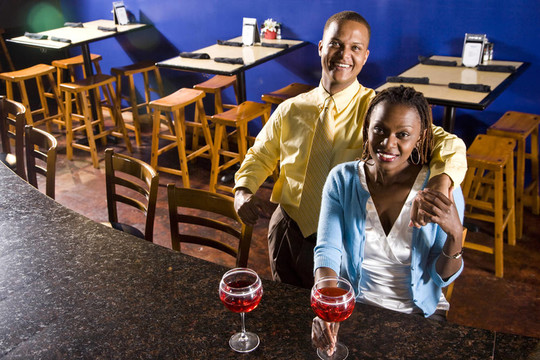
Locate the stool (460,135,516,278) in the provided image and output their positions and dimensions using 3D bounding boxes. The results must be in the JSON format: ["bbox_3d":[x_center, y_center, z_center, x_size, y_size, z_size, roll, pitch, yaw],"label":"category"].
[{"bbox_3d":[1.605,0.213,3.363,0.453,0.927,0.521,14,49,23],"label":"stool"}]

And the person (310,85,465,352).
[{"bbox_3d":[0.499,0.173,1.907,0.647,0.972,0.717,4,26,12],"label":"person"}]

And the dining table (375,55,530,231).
[{"bbox_3d":[1.476,-0.539,4.042,1.142,1.113,1.107,-37,48,-27],"label":"dining table"}]
